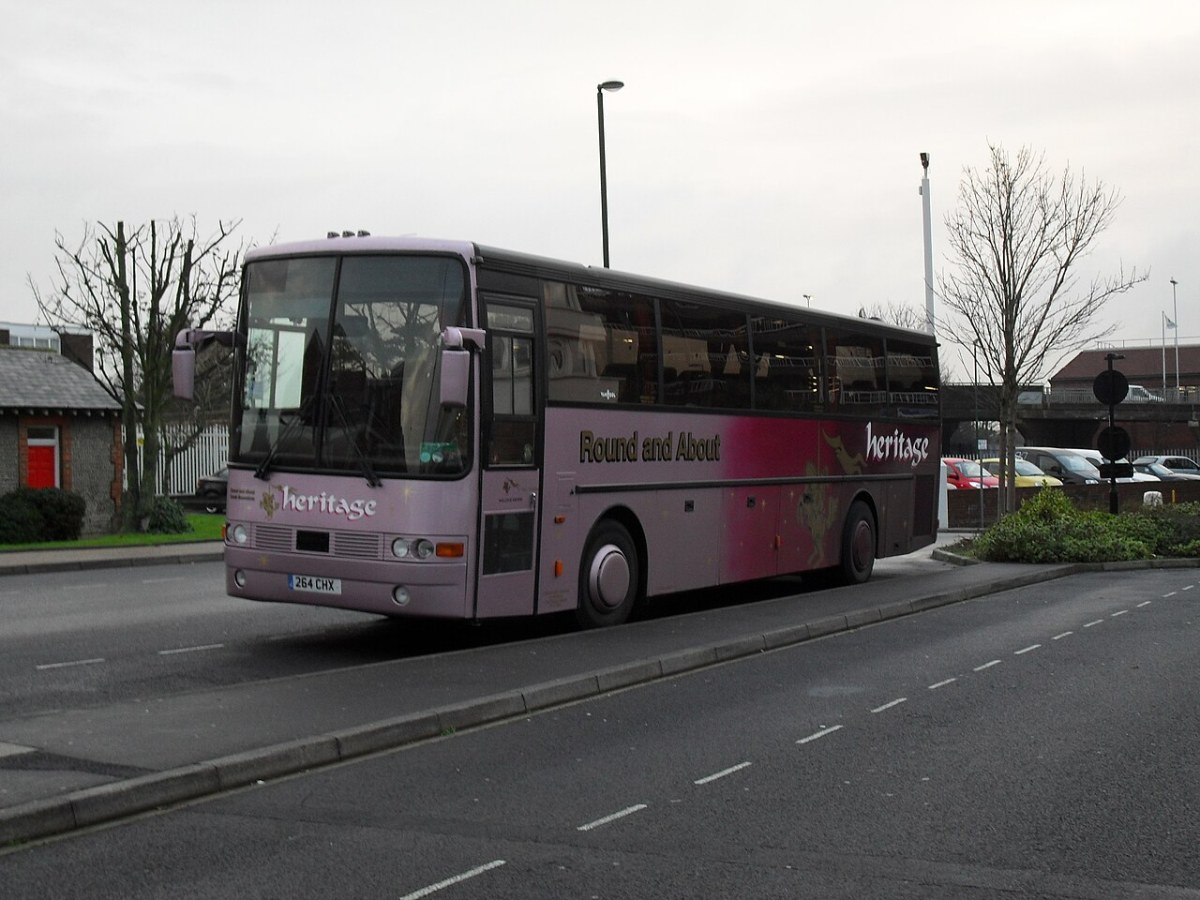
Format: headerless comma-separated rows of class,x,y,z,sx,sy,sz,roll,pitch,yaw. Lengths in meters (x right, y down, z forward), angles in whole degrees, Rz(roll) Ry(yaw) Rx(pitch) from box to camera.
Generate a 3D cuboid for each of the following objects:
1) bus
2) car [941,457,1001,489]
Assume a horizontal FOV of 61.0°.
bus,1.314,-0.057,15.495,3.016,4.377,14.156,1,0,39
car,13.500,0.892,37.034,1.327,1.301,2.233,-1,-3,-35
